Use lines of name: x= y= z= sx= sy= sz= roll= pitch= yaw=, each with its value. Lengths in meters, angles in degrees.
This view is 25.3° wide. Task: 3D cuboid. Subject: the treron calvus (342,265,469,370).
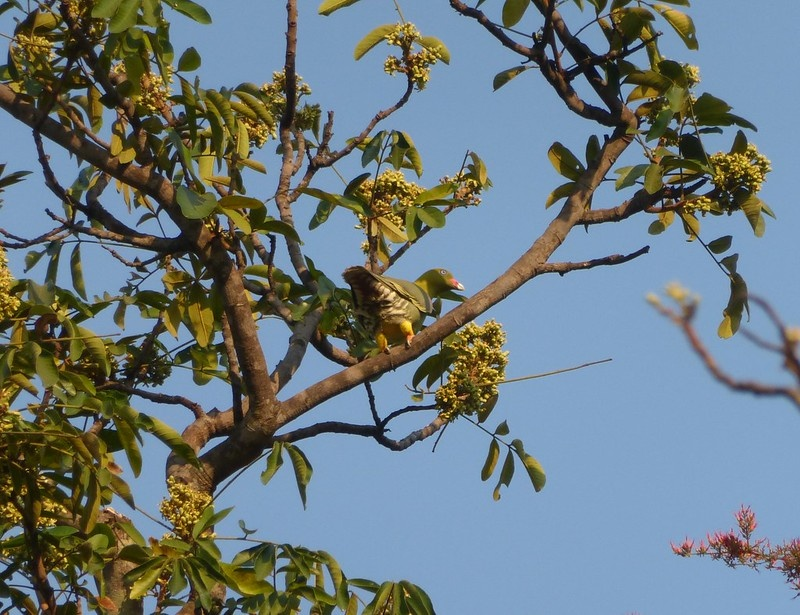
treron calvus: x=-0.024 y=-0.010 z=12.327 sx=1.375 sy=0.820 sz=0.509 roll=7 pitch=-5 yaw=-43
